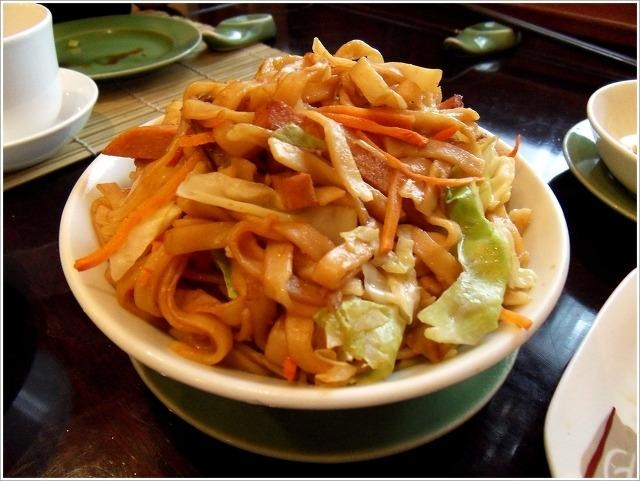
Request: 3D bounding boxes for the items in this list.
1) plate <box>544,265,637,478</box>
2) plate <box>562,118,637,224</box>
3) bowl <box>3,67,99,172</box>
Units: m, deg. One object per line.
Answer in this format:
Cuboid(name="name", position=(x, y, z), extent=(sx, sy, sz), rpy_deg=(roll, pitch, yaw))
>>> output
Cuboid(name="plate", position=(0.613, 0.287, 1.055), extent=(0.180, 0.080, 0.530), rpy_deg=(25, 50, 23))
Cuboid(name="plate", position=(0.840, -0.201, 1.521), extent=(0.269, 0.055, 0.270), rpy_deg=(40, 45, 17))
Cuboid(name="bowl", position=(-0.882, -0.401, 1.722), extent=(0.357, 0.126, 0.351), rpy_deg=(-13, 48, 14))
